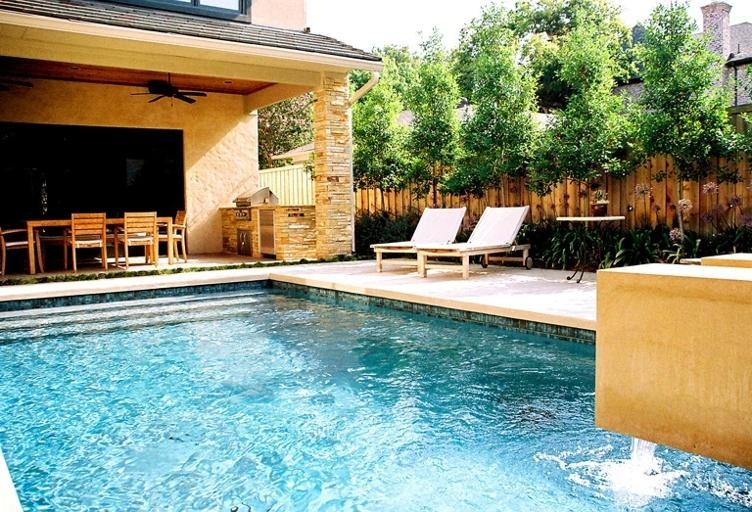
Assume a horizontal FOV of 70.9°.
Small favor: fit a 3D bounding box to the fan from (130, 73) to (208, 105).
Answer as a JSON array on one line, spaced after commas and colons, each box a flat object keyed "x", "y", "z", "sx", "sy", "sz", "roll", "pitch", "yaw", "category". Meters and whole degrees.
[{"x": -4.749, "y": -3.581, "z": 11.552, "sx": 1.344, "sy": 0.438, "sz": 1.378, "roll": 7, "pitch": 8, "yaw": 29, "category": "fan"}]

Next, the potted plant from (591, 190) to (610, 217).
[{"x": 3.409, "y": -0.779, "z": 7.999, "sx": 0.223, "sy": 0.370, "sz": 0.331, "roll": 1, "pitch": 13, "yaw": 18, "category": "potted plant"}]

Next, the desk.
[{"x": 3.335, "y": -0.174, "z": 8.280, "sx": 1.296, "sy": 1.122, "sz": 1.286, "roll": 0, "pitch": 2, "yaw": 16, "category": "desk"}]
